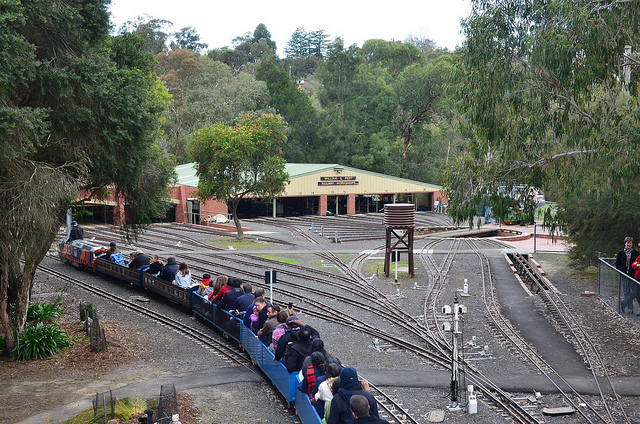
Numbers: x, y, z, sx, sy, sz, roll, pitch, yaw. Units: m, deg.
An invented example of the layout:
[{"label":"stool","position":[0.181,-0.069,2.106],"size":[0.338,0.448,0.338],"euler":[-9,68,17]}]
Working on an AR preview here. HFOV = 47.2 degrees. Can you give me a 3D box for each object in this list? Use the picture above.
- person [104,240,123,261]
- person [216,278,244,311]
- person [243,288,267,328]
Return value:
[{"label":"person","position":[-12.225,2.289,43.416],"size":[0.649,1.008,0.556],"euler":[-7,22,-27]},{"label":"person","position":[-3.685,3.440,30.671],"size":[1.013,1.290,0.740],"euler":[4,10,28]},{"label":"person","position":[-2.680,3.814,29.257],"size":[0.955,1.446,0.437],"euler":[4,14,-19]}]
